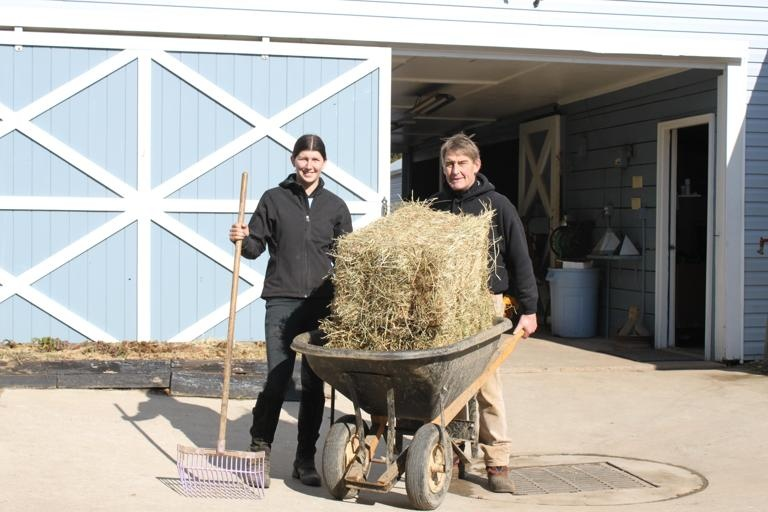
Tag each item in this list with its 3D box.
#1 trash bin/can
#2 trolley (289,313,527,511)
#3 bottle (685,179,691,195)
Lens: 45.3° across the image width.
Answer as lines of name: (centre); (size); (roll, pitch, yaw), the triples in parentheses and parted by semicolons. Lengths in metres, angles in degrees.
trash bin/can: (2.633, 0.659, 13.007); (0.710, 0.966, 0.437); (1, -6, 10)
trolley: (0.175, 1.233, 7.337); (1.221, 0.999, 1.935); (-3, -6, 27)
bottle: (4.155, -0.948, 12.689); (0.047, 0.252, 0.290); (0, -7, 16)
